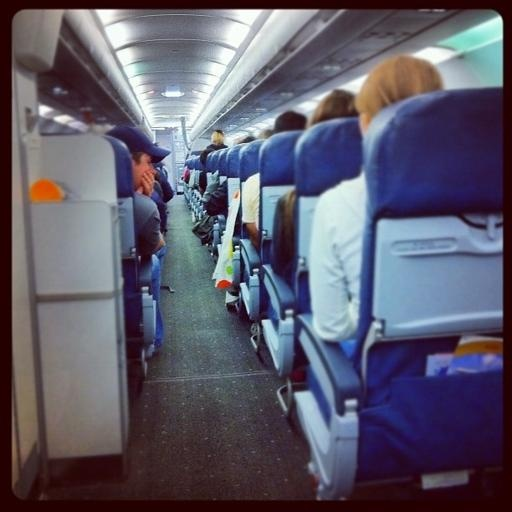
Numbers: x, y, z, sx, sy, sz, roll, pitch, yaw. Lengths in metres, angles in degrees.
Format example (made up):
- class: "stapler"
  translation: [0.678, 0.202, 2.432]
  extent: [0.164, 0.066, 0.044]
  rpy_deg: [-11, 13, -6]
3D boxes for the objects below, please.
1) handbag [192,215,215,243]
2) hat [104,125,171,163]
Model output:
- class: "handbag"
  translation: [-0.672, -0.318, 5.957]
  extent: [0.228, 0.378, 0.180]
  rpy_deg: [17, -24, -9]
- class: "hat"
  translation: [-0.610, -0.558, 2.416]
  extent: [0.361, 0.207, 0.236]
  rpy_deg: [-5, 0, -7]
